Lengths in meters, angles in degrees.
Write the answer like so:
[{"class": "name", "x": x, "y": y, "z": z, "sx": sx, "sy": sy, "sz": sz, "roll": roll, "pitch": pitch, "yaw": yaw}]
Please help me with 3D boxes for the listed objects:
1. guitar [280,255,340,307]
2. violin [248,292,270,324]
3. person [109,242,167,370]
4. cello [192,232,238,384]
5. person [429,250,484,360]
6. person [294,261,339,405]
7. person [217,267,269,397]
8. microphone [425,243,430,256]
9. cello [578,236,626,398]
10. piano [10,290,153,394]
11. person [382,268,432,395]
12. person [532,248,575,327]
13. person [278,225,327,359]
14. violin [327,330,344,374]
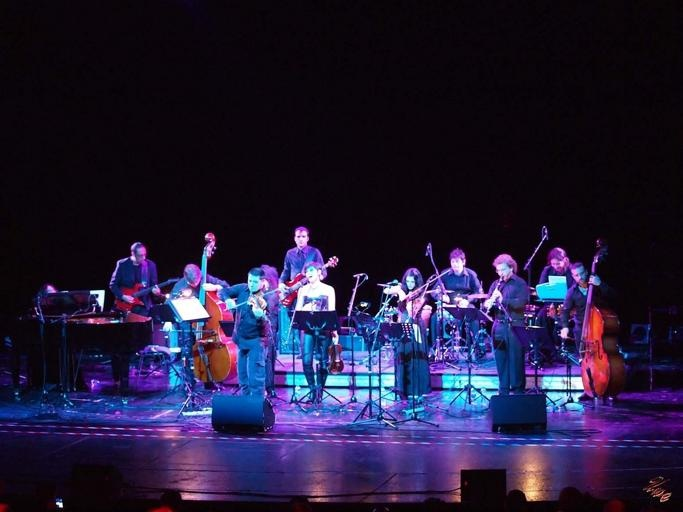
[{"class": "guitar", "x": -0.600, "y": 0.337, "z": 11.509, "sx": 1.320, "sy": 0.535, "sz": 0.148, "roll": -46, "pitch": 18, "yaw": -14}, {"class": "violin", "x": -1.242, "y": 0.770, "z": 10.044, "sx": 0.273, "sy": 0.389, "sz": 0.139, "roll": -17, "pitch": 2, "yaw": -39}, {"class": "person", "x": -4.020, "y": 0.545, "z": 13.061, "sx": 0.960, "sy": 3.176, "sz": 0.823, "roll": 2, "pitch": 0, "yaw": -31}, {"class": "cello", "x": -2.155, "y": 1.011, "z": 11.511, "sx": 0.573, "sy": 2.972, "sz": 0.623, "roll": 1, "pitch": 0, "yaw": -39}, {"class": "person", "x": 2.117, "y": 0.713, "z": 12.532, "sx": 0.926, "sy": 2.356, "sz": 0.902, "roll": 0, "pitch": -2, "yaw": 19}, {"class": "person", "x": -0.420, "y": 1.290, "z": 10.785, "sx": 0.616, "sy": 2.403, "sz": 0.699, "roll": -1, "pitch": 4, "yaw": -9}, {"class": "person", "x": -1.389, "y": 1.143, "z": 10.159, "sx": 0.544, "sy": 1.932, "sz": 1.206, "roll": 2, "pitch": -4, "yaw": -27}, {"class": "microphone", "x": 1.825, "y": -0.136, "z": 14.165, "sx": 0.085, "sy": 0.324, "sz": 0.121, "roll": 2, "pitch": 6, "yaw": 12}, {"class": "cello", "x": 4.023, "y": 1.028, "z": 10.404, "sx": 0.528, "sy": 2.649, "sz": 0.622, "roll": 2, "pitch": 1, "yaw": -1}, {"class": "piano", "x": -4.363, "y": 1.574, "z": 11.643, "sx": 2.194, "sy": 1.709, "sz": 1.685, "roll": 3, "pitch": 0, "yaw": 7}, {"class": "person", "x": 1.090, "y": 1.243, "z": 10.753, "sx": 0.646, "sy": 2.105, "sz": 1.108, "roll": 0, "pitch": -3, "yaw": 11}, {"class": "person", "x": 3.991, "y": 0.512, "z": 12.126, "sx": 0.556, "sy": 1.249, "sz": 0.705, "roll": -11, "pitch": 5, "yaw": -10}, {"class": "person", "x": -0.818, "y": 0.600, "z": 12.702, "sx": 0.771, "sy": 2.705, "sz": 0.676, "roll": 1, "pitch": 0, "yaw": 2}, {"class": "violin", "x": -0.099, "y": 1.558, "z": 10.665, "sx": 0.227, "sy": 0.664, "sz": 0.421, "roll": 0, "pitch": -3, "yaw": 1}]
